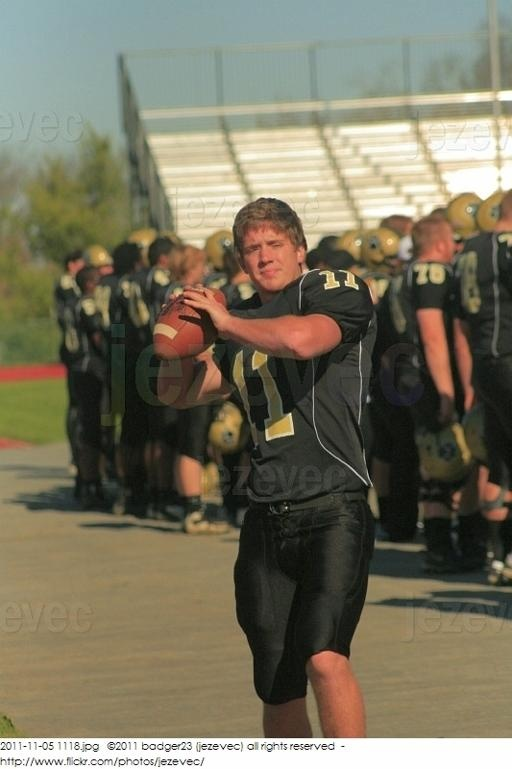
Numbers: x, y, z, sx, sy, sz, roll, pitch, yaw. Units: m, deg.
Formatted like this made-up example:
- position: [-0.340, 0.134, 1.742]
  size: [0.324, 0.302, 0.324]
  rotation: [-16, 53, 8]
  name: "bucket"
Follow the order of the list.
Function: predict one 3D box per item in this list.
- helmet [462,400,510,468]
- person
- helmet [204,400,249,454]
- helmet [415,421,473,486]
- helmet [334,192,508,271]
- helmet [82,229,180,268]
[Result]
- position: [0.957, 0.190, 4.058]
  size: [0.094, 0.232, 0.180]
  rotation: [-7, 32, 31]
  name: "helmet"
- position: [0.077, 0.219, 2.389]
  size: [0.461, 1.367, 0.695]
  rotation: [-6, 6, -30]
  name: "person"
- position: [-0.110, 0.177, 4.086]
  size: [0.196, 0.198, 0.119]
  rotation: [-2, -12, 17]
  name: "helmet"
- position: [0.853, 0.282, 4.222]
  size: [0.275, 0.242, 0.109]
  rotation: [-12, 13, 37]
  name: "helmet"
- position: [0.647, -0.613, 3.903]
  size: [0.511, 0.201, 0.275]
  rotation: [-20, 8, -1]
  name: "helmet"
- position: [-0.470, -0.517, 3.604]
  size: [0.238, 0.070, 0.158]
  rotation: [-14, -1, -6]
  name: "helmet"
